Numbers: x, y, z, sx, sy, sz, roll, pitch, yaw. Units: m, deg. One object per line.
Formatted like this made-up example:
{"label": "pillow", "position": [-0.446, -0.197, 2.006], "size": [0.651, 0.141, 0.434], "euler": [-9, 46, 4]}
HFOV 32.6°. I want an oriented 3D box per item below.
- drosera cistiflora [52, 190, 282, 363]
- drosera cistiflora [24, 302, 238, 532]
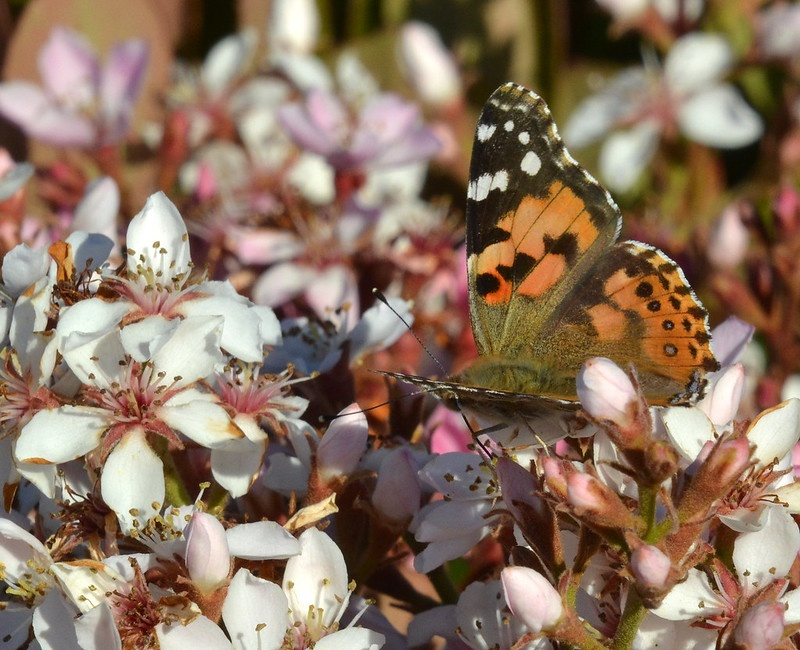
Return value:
{"label": "drosera cistiflora", "position": [-0.386, -0.067, 2.311], "size": [0.266, 0.087, 0.285], "euler": [2, 35, -25]}
{"label": "drosera cistiflora", "position": [-0.435, 0.142, 2.228], "size": [0.344, 0.109, 0.342], "euler": [22, 73, 2]}
